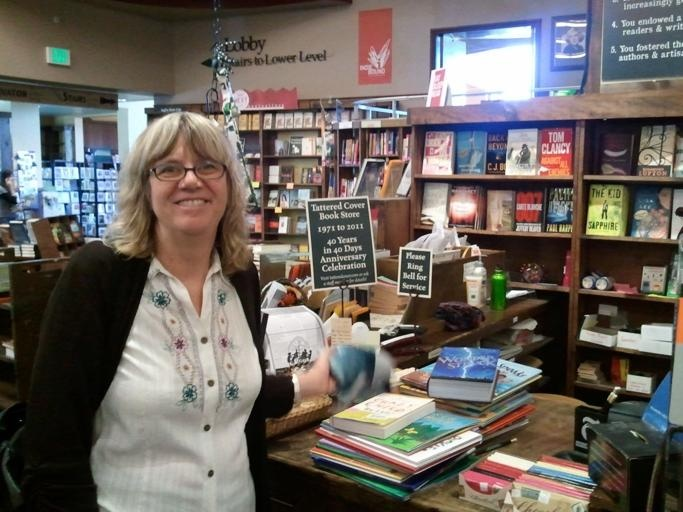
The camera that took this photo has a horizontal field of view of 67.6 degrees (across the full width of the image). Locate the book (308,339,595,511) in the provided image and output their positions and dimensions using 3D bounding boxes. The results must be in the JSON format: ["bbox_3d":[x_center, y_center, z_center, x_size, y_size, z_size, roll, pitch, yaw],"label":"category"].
[{"bbox_3d":[0.295,0.510,1.799,0.731,0.419,0.446,-8,9,-42],"label":"book"}]

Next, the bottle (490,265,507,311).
[{"bbox_3d":[1.109,0.238,3.610,0.105,0.291,0.149,0,7,15],"label":"bottle"}]

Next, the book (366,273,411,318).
[{"bbox_3d":[0.310,0.241,3.318,0.236,0.169,0.290,3,6,20],"label":"book"}]

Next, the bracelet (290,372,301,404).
[{"bbox_3d":[-0.168,0.474,1.782,0.035,0.080,0.060,-3,6,-39],"label":"bracelet"}]

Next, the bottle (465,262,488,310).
[{"bbox_3d":[0.972,0.206,3.614,0.189,0.331,0.088,-7,9,-39],"label":"bottle"}]

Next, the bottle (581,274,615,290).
[{"bbox_3d":[2.157,0.227,4.285,0.245,0.123,0.134,1,8,24],"label":"bottle"}]

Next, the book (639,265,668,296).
[{"bbox_3d":[2.550,0.203,4.144,0.171,0.231,0.061,8,-1,33],"label":"book"}]
